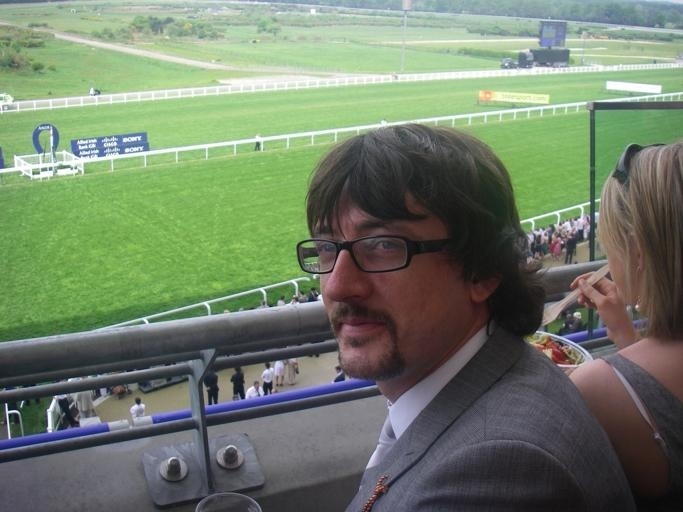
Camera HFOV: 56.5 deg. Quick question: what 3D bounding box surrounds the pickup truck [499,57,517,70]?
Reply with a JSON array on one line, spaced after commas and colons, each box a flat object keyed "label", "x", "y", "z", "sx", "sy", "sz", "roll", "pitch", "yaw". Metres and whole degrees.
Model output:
[{"label": "pickup truck", "x": 11.543, "y": -13.240, "z": 43.943, "sx": 0.912, "sy": 0.700, "sz": 1.417, "roll": -2, "pitch": 22, "yaw": 6}]
